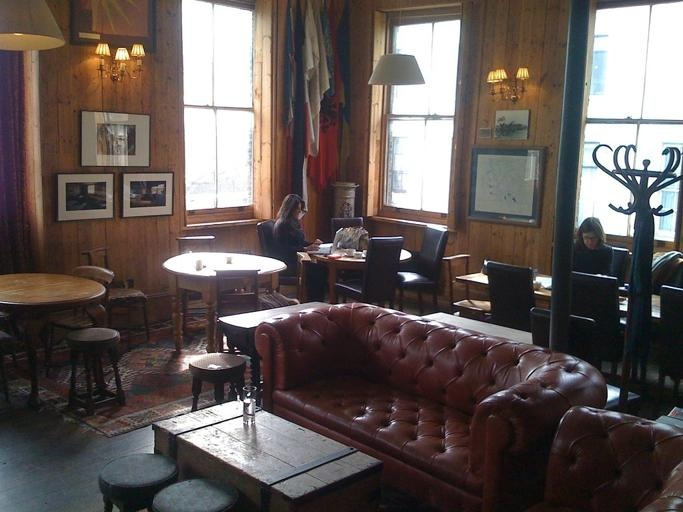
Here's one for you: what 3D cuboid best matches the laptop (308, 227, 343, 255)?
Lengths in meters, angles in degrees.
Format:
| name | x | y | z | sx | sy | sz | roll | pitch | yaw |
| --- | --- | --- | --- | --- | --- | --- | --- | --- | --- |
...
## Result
| name | x | y | z | sx | sy | sz | roll | pitch | yaw |
| --- | --- | --- | --- | --- | --- | --- | --- | --- | --- |
| laptop | -0.173 | -0.245 | 6.668 | 0.284 | 0.271 | 0.434 | 11 | 9 | 6 |

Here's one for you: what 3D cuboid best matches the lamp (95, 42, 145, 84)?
| name | x | y | z | sx | sy | sz | roll | pitch | yaw |
| --- | --- | --- | --- | --- | --- | --- | --- | --- | --- |
| lamp | -2.396 | -2.095 | 5.961 | 0.445 | 0.369 | 0.209 | -9 | 17 | -44 |

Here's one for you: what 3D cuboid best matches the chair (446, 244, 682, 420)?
| name | x | y | z | sx | sy | sz | roll | pitch | yaw |
| --- | --- | --- | --- | --- | --- | --- | --- | --- | --- |
| chair | 1.716 | 0.567 | 4.073 | 0.391 | 0.720 | 1.290 | -9 | 14 | -39 |

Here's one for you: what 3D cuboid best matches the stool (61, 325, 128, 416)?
| name | x | y | z | sx | sy | sz | roll | pitch | yaw |
| --- | --- | --- | --- | --- | --- | --- | --- | --- | --- |
| stool | -2.003 | 0.917 | 4.512 | 0.424 | 0.641 | 0.334 | 4 | 10 | 26 |

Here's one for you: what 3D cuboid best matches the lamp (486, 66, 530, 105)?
| name | x | y | z | sx | sy | sz | roll | pitch | yaw |
| --- | --- | --- | --- | --- | --- | --- | --- | --- | --- |
| lamp | 1.915 | -2.033 | 6.566 | 0.556 | 0.432 | 0.224 | 8 | 12 | 41 |

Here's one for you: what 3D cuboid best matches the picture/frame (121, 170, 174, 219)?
| name | x | y | z | sx | sy | sz | roll | pitch | yaw |
| --- | --- | --- | --- | --- | --- | --- | --- | --- | --- |
| picture/frame | -2.258 | -0.720 | 6.382 | 0.522 | 0.456 | 0.041 | -9 | 15 | -44 |

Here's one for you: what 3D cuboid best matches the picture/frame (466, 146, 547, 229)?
| name | x | y | z | sx | sy | sz | roll | pitch | yaw |
| --- | --- | --- | --- | --- | --- | --- | --- | --- | --- |
| picture/frame | 2.033 | -0.853 | 6.721 | 0.871 | 0.925 | 0.091 | 13 | 10 | 39 |

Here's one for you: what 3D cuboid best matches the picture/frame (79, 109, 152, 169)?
| name | x | y | z | sx | sy | sz | roll | pitch | yaw |
| --- | --- | --- | --- | --- | --- | --- | --- | --- | --- |
| picture/frame | -2.504 | -1.299 | 6.080 | 0.669 | 0.543 | 0.023 | -7 | 12 | -42 |
